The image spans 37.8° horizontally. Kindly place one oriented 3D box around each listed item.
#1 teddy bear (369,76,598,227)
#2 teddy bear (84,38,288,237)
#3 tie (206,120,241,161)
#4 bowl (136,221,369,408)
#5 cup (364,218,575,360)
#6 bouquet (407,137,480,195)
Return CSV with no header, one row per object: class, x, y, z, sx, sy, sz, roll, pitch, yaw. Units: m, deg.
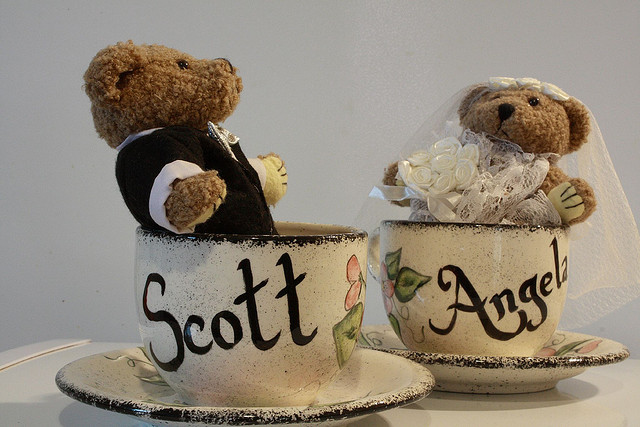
teddy bear,0.342,-0.134,1.983,0.463,0.305,0.220,0,8,7
teddy bear,-0.255,-0.173,1.879,0.241,0.402,0.408,-28,5,14
tie,-0.186,-0.147,1.765,0.021,0.067,0.070,-41,-20,14
bowl,-0.134,0.190,1.731,0.339,0.255,0.369,1,-2,0
cup,0.312,0.152,2.038,0.448,0.286,0.417,2,4,0
bouquet,0.255,-0.089,1.949,0.146,0.121,0.111,4,-1,-29
